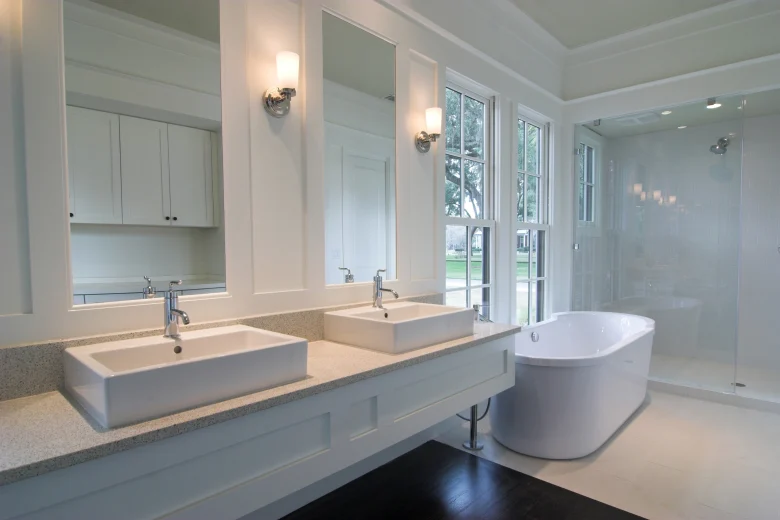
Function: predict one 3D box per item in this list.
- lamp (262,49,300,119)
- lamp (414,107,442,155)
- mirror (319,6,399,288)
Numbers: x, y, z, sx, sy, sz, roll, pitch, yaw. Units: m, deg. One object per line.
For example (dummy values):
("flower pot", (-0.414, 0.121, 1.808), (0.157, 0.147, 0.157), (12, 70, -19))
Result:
("lamp", (-0.586, -0.986, 2.780), (0.164, 0.342, 0.241), (10, 18, 35))
("lamp", (0.271, -0.934, 3.548), (0.174, 0.306, 0.205), (1, 15, 7))
("mirror", (-0.172, -0.599, 3.262), (0.068, 1.654, 0.512), (8, 16, 40))
